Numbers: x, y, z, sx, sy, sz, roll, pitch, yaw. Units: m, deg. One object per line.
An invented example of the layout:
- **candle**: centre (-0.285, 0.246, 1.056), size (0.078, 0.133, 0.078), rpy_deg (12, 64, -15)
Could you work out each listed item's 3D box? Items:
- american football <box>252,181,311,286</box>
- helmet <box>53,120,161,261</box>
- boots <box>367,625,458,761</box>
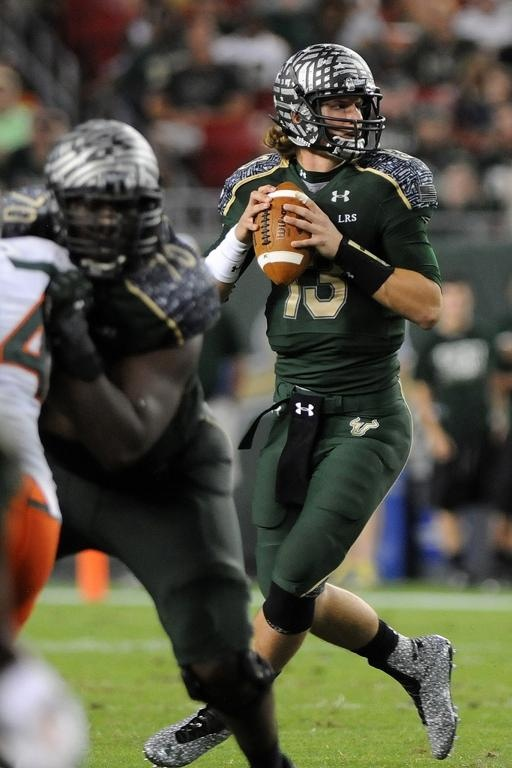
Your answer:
- **american football**: centre (0.058, -0.386, 2.093), size (0.168, 0.224, 0.155), rpy_deg (3, -11, 8)
- **helmet**: centre (-0.257, -0.338, 1.431), size (0.216, 0.211, 0.246), rpy_deg (-3, 31, -10)
- **boots**: centre (0.452, 0.824, 2.303), size (0.240, 0.424, 0.156), rpy_deg (-18, -14, -2)
